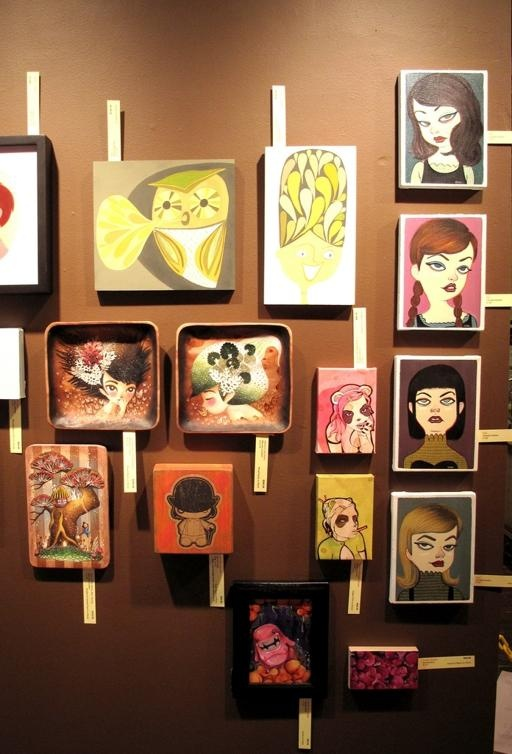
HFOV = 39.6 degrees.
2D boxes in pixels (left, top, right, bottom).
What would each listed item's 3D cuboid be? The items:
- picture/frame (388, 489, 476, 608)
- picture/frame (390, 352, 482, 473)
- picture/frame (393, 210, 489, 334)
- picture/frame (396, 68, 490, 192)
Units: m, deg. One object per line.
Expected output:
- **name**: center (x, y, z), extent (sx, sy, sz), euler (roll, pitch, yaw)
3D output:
- **picture/frame**: center (0.511, 0.492, 2.056), extent (0.330, 0.423, 0.046), euler (1, 3, 1)
- **picture/frame**: center (0.518, 0.099, 2.045), extent (0.348, 0.466, 0.049), euler (1, 2, -3)
- **picture/frame**: center (0.525, -0.307, 2.022), extent (0.347, 0.464, 0.049), euler (0, 5, -1)
- **picture/frame**: center (0.529, -0.703, 2.005), extent (0.347, 0.447, 0.052), euler (-1, 4, 0)
